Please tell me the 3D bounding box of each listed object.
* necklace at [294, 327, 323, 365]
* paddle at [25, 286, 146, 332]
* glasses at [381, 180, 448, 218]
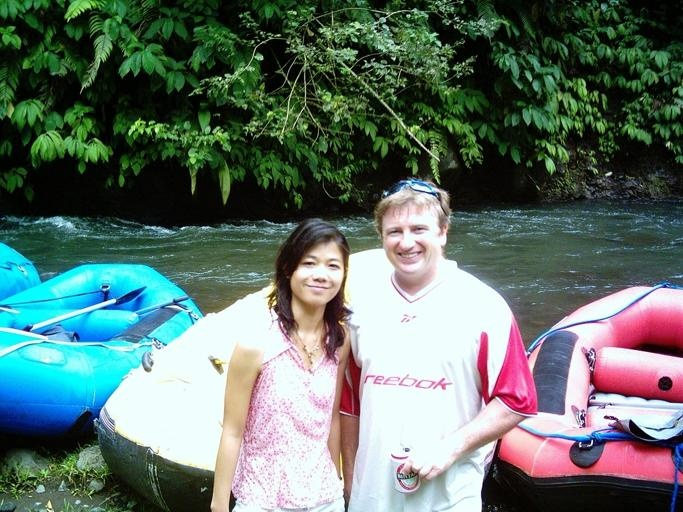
[{"bbox_3d":[-0.132,0.371,2.548,0.098,0.146,0.035,7,-7,-10],"label":"necklace"},{"bbox_3d":[-2.138,0.446,5.129,0.090,0.101,0.836,29,31,27],"label":"paddle"},{"bbox_3d":[0.301,-0.228,2.694,0.191,0.064,0.218,2,-40,11],"label":"glasses"}]
